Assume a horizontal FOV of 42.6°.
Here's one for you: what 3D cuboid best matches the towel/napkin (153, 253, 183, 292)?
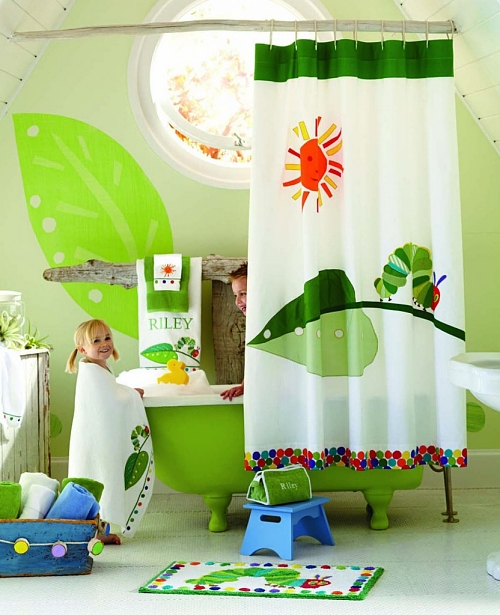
[{"bbox_3d":[-0.403,-0.163,3.116,0.200,0.214,0.037,1,-5,3],"label":"towel/napkin"}]

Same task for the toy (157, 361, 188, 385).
[{"bbox_3d":[-0.360,0.310,2.965,0.102,0.083,0.033,-2,-26,2],"label":"toy"}]

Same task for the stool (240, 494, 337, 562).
[{"bbox_3d":[0.145,0.778,2.295,0.279,0.192,0.304,-1,-1,24],"label":"stool"}]
